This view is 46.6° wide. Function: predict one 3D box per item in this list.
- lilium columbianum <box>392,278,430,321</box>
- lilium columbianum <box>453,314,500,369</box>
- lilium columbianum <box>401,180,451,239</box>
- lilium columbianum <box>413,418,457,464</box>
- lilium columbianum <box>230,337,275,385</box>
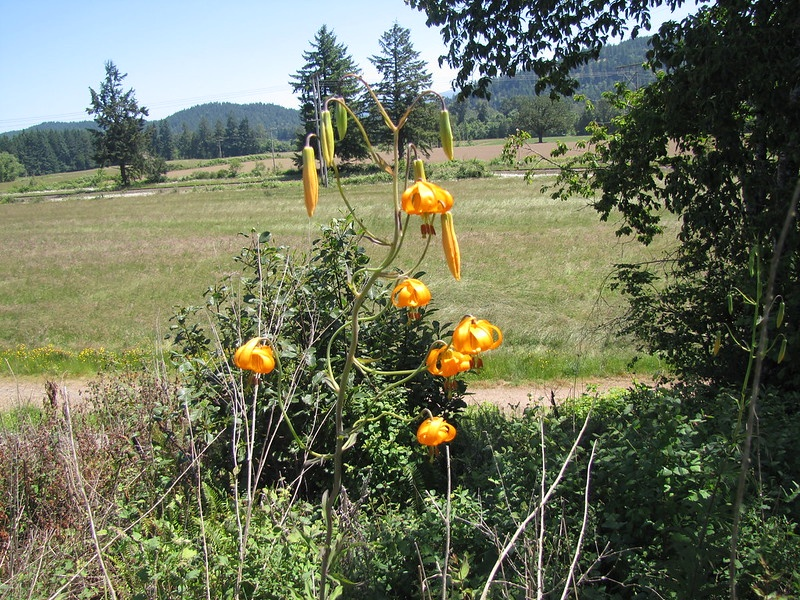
[{"bbox_3d":[0.084,-0.018,7.327,0.283,0.348,0.279,1,7,20],"label":"lilium columbianum"},{"bbox_3d":[0.573,0.358,7.194,0.363,0.455,0.295,5,-19,-11],"label":"lilium columbianum"},{"bbox_3d":[0.176,-0.705,7.033,0.335,0.460,0.376,-7,5,-28],"label":"lilium columbianum"},{"bbox_3d":[0.322,1.075,7.395,0.283,0.398,0.317,8,12,36],"label":"lilium columbianum"},{"bbox_3d":[-1.146,0.440,7.332,0.282,0.369,0.375,-5,13,-4],"label":"lilium columbianum"}]
